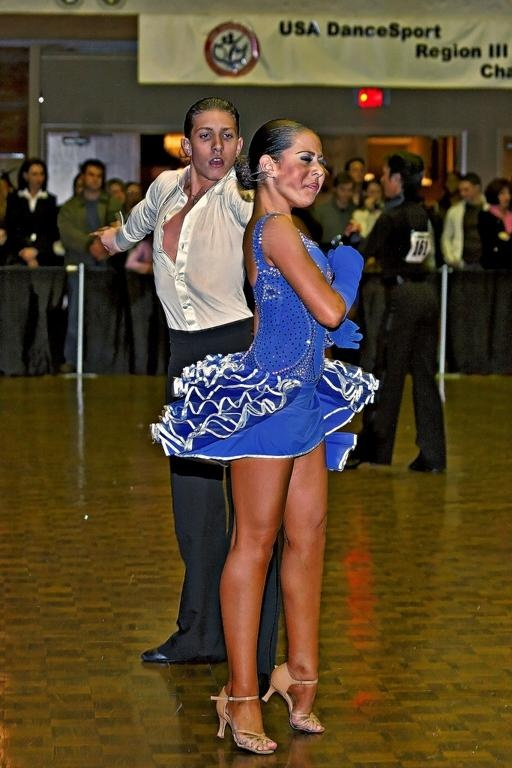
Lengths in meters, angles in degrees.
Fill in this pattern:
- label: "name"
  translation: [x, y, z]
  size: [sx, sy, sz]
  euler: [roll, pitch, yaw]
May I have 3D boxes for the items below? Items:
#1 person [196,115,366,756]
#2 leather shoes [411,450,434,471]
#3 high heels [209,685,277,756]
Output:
- label: "person"
  translation: [0.068, 0.121, 1.545]
  size: [0.241, 1.128, 0.425]
  euler: [3, 1, 2]
- label: "leather shoes"
  translation: [1.162, 0.542, 5.345]
  size: [0.132, 0.135, 0.140]
  euler: [-4, 1, -28]
- label: "high heels"
  translation: [-0.036, 0.673, 1.534]
  size: [0.069, 0.106, 0.198]
  euler: [3, -4, -31]
